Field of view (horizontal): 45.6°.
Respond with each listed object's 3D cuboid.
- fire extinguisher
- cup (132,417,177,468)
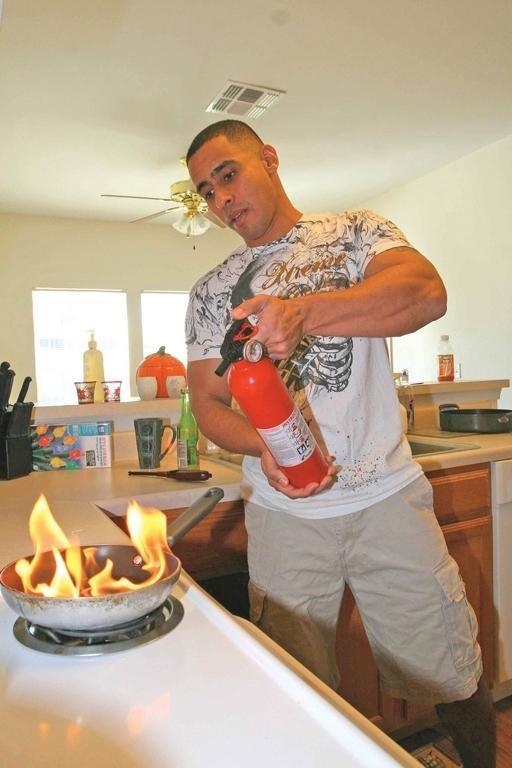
[{"bbox_3d":[0.030,0.037,0.950,0.185,0.267,0.197,0,-1,-1],"label":"fire extinguisher"},{"bbox_3d":[-0.311,0.165,1.859,0.130,0.154,0.109,3,3,3],"label":"cup"}]
